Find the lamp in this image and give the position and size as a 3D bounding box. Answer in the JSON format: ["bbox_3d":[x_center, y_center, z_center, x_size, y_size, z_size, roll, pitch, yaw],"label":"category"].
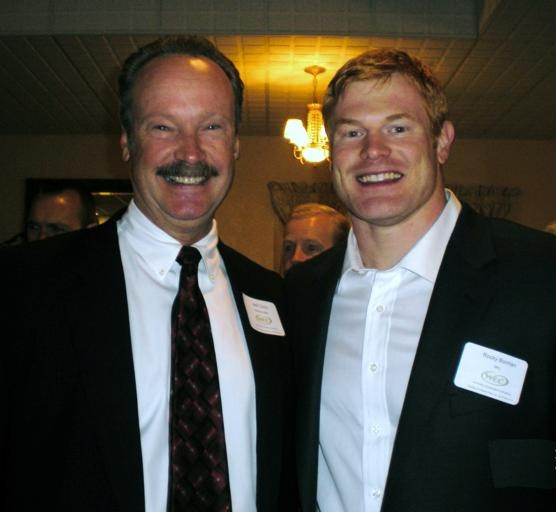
[{"bbox_3d":[0.318,-1.216,4.807,0.519,0.821,0.416,1,12,0],"label":"lamp"}]
